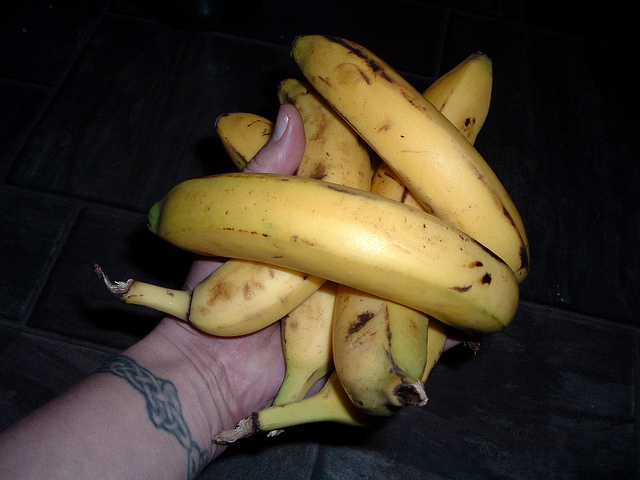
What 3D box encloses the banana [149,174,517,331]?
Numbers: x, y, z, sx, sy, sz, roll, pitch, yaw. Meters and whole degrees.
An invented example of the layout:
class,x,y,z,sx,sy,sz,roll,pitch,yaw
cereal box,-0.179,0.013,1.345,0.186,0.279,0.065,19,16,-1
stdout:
class,x,y,z,sx,sy,sz,roll,pitch,yaw
banana,0.012,0.006,1.113,0.738,0.216,0.190,15,51,5
